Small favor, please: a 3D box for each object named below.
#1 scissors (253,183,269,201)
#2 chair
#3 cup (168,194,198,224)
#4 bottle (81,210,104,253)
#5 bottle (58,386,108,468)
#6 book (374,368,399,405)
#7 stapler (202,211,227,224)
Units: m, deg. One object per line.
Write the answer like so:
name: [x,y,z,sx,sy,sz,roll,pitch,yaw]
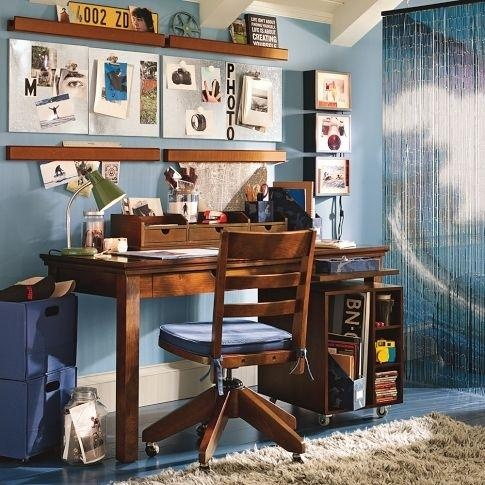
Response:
scissors: [0.100,-0.277,2.708,0.061,0.115,0.115,-1,-3,29]
chair: [-0.053,0.367,1.917,0.592,0.844,0.591,1,2,-22]
cup: [-0.288,-0.168,2.511,0.129,0.139,0.142,4,5,28]
bottle: [-0.677,-0.050,2.220,0.117,0.179,0.121,2,6,0]
bottle: [-0.585,0.683,1.850,0.178,0.268,0.140,3,-5,-38]
book: [0.693,0.701,2.399,0.149,0.141,0.140,1,-2,-39]
stapler: [-0.144,-0.130,2.467,0.149,0.073,0.048,0,-1,-43]
